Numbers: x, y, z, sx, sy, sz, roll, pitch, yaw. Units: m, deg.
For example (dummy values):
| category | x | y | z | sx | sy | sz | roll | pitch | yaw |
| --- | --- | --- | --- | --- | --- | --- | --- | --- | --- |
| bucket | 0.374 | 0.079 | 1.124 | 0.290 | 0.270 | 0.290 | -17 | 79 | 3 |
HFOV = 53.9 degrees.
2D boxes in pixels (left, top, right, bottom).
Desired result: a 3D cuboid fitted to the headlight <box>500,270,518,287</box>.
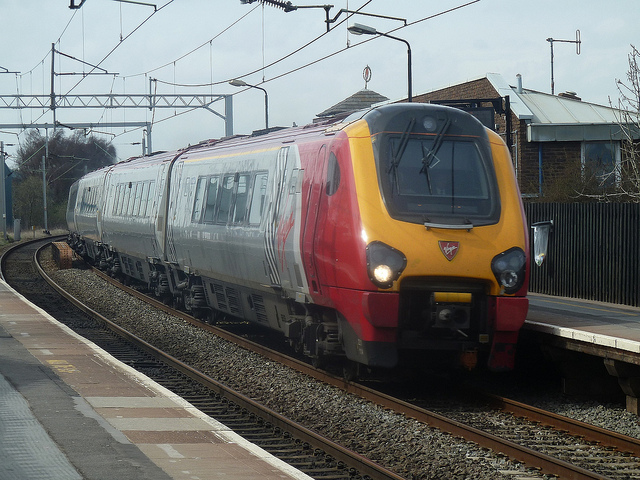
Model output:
| category | x | y | z | sx | sy | sz | roll | pitch | yaw |
| --- | --- | --- | --- | --- | --- | --- | --- | --- | --- |
| headlight | 2.565 | 0.513 | 8.573 | 0.215 | 0.215 | 0.069 | -1 | -6 | -19 |
